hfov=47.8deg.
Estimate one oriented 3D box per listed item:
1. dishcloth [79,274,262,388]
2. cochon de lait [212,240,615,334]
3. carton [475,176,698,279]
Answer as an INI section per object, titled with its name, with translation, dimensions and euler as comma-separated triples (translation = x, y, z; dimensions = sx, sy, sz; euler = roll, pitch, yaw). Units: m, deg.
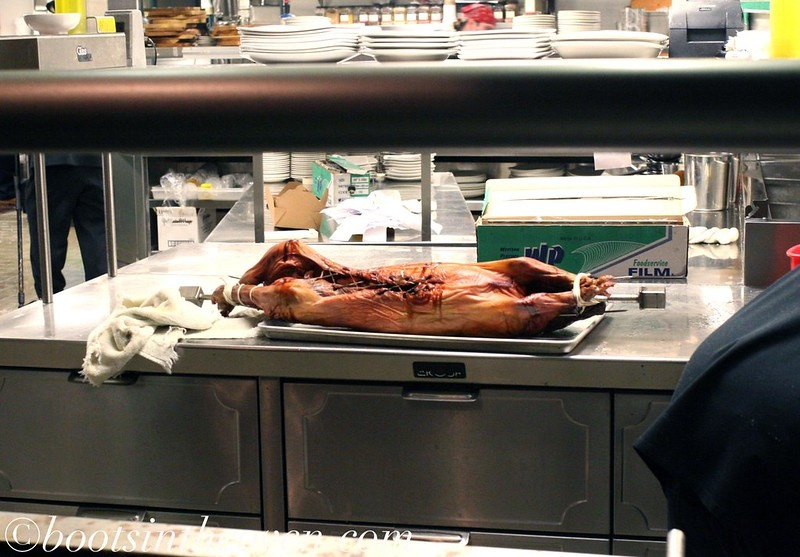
[dishcloth]
translation = -0.546, 0.084, 2.215
dimensions = 0.437, 0.221, 0.426
euler = -1, 20, 7
[cochon de lait]
translation = 0.024, 0.039, 2.091
dimensions = 0.920, 0.146, 0.263
euler = 2, 26, 1
[carton]
translation = 0.562, -0.184, 2.604
dimensions = 0.584, 0.233, 0.437
euler = -2, 23, 17
